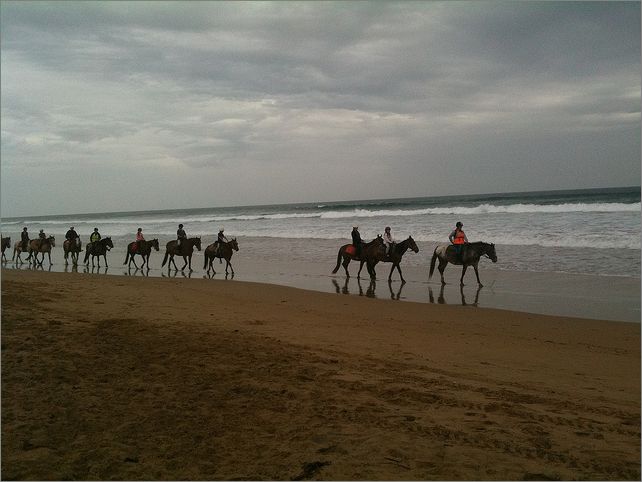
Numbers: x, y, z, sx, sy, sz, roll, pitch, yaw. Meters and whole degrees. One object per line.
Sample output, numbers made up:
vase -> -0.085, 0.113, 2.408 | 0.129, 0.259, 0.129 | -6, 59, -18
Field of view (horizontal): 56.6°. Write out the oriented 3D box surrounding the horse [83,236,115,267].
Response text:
horse -> -10.656, 0.466, 28.352 | 0.493, 1.037, 1.740 | 3, 7, 30

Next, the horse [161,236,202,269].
horse -> -6.468, 0.514, 27.148 | 1.511, 1.523, 3.205 | 0, 6, -17

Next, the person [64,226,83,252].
person -> -12.161, -0.093, 29.129 | 0.653, 1.219, 3.207 | -1, 6, -24

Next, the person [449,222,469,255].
person -> 5.069, -0.146, 21.827 | 0.629, 1.179, 1.326 | 3, 6, 14

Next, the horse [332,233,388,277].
horse -> 1.485, 0.661, 24.033 | 2.472, 1.605, 0.668 | -1, -5, 41

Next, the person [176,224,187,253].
person -> -6.197, -0.234, 26.288 | 0.379, 1.070, 1.093 | 1, 5, -6

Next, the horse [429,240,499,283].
horse -> 5.141, 0.792, 21.729 | 2.602, 1.574, 0.809 | 1, 2, 36

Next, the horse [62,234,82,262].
horse -> -11.930, 0.167, 28.606 | 0.616, 1.329, 2.055 | 6, 6, -35

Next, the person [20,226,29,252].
person -> -15.345, -0.072, 30.745 | 0.353, 1.221, 1.804 | -1, 6, -27
